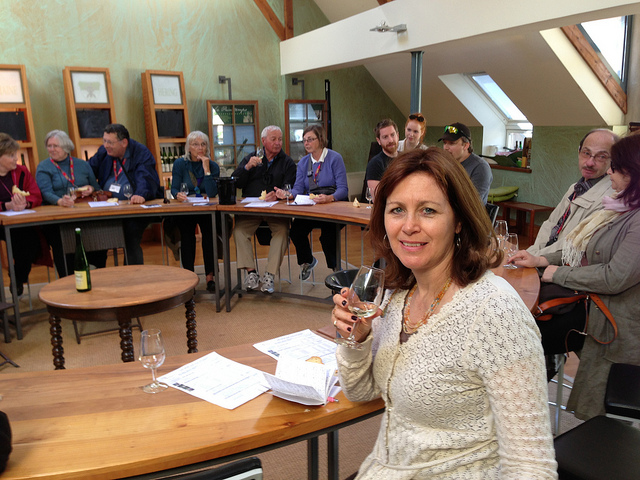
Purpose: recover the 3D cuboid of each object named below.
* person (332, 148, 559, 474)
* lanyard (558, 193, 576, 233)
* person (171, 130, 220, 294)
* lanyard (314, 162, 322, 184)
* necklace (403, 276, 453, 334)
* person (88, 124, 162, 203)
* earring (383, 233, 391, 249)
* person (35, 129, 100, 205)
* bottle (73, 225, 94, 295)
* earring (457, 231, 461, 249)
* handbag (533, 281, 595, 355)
[{"bbox_3d":[0.384,0.250,1.382,0.668,1.058,0.340,5,13,31],"label":"person"},{"bbox_3d":[1.677,-0.177,2.997,0.017,0.309,0.013,19,-3,15],"label":"lanyard"},{"bbox_3d":[-1.425,-0.362,5.179,0.566,1.791,0.953,-6,12,-19],"label":"person"},{"bbox_3d":[-0.028,-0.793,5.146,0.041,0.234,0.031,15,5,13],"label":"lanyard"},{"bbox_3d":[0.371,0.229,1.449,0.031,0.186,0.141,32,-3,-19],"label":"necklace"},{"bbox_3d":[-2.407,-0.929,5.388,1.014,0.969,0.643,10,17,24],"label":"person"},{"bbox_3d":[0.237,0.005,1.552,0.026,0.059,0.034,-4,11,-10],"label":"earring"},{"bbox_3d":[-2.746,-0.827,4.875,0.678,0.783,0.761,-12,15,-40],"label":"person"},{"bbox_3d":[-1.632,0.116,2.991,0.124,0.439,0.404,-8,13,-28],"label":"bottle"},{"bbox_3d":[0.440,0.002,1.399,0.006,0.048,0.020,-3,11,-3],"label":"earring"},{"bbox_3d":[1.303,0.417,2.344,0.224,0.346,0.114,6,18,2],"label":"handbag"}]
